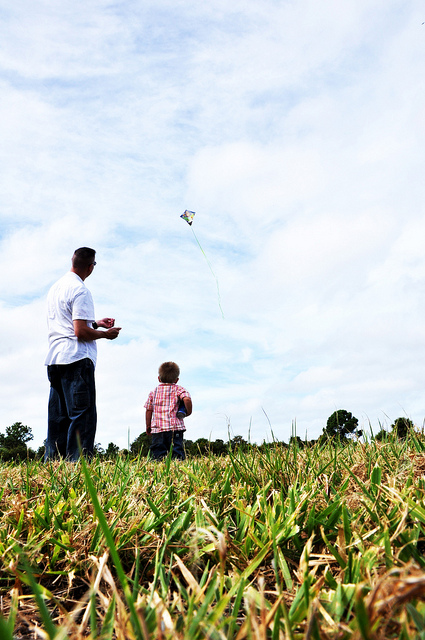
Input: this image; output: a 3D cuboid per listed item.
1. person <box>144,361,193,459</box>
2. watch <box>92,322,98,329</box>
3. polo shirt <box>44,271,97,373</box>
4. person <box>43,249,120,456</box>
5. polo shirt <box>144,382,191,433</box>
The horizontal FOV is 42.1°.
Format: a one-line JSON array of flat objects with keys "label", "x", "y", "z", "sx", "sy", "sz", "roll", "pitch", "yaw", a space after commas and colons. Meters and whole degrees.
[{"label": "person", "x": -0.492, "y": 0.990, "z": 6.366, "sx": 0.517, "sy": 1.144, "sz": 1.016, "roll": -3, "pitch": -13, "yaw": -8}, {"label": "watch", "x": -1.097, "y": 0.042, "z": 5.281, "sx": 0.049, "sy": 0.049, "sz": 0.038, "roll": -3, "pitch": 4, "yaw": 41}, {"label": "polo shirt", "x": -1.296, "y": -0.054, "z": 5.146, "sx": 0.437, "sy": 0.980, "sz": 0.528, "roll": -1, "pitch": -14, "yaw": -16}, {"label": "person", "x": -1.199, "y": 0.211, "z": 5.058, "sx": 0.613, "sy": 1.984, "sz": 0.754, "roll": -1, "pitch": -14, "yaw": -16}, {"label": "polo shirt", "x": -0.503, "y": 1.000, "z": 6.488, "sx": 0.295, "sy": 0.587, "sz": 0.470, "roll": 5, "pitch": -17, "yaw": -36}]
